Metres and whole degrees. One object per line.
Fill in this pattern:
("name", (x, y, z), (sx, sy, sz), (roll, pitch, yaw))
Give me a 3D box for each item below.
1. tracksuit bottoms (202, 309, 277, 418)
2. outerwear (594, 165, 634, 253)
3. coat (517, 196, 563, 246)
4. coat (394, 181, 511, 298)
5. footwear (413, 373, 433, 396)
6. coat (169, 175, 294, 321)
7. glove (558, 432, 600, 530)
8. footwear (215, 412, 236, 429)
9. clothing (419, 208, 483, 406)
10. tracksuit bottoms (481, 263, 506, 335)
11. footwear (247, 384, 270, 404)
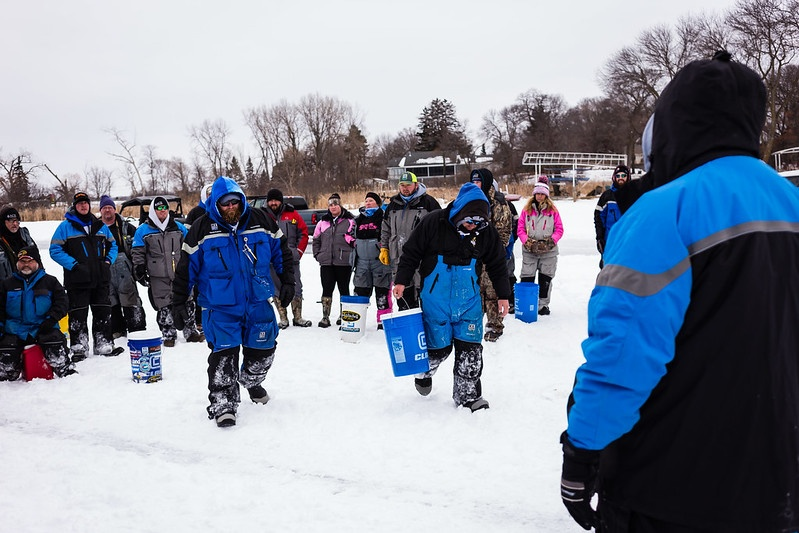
("tracksuit bottoms", (-1.561, 0.905, 6.504), (0.389, 1.066, 0.680), (10, 16, 44))
("outerwear", (3.006, -0.456, 9.296), (0.613, 1.878, 0.492), (1, -1, 21))
("coat", (2.120, -0.665, 10.066), (0.641, 0.690, 0.399), (2, 5, 12))
("coat", (0.590, -0.173, 6.681), (1.150, 1.256, 0.653), (6, 2, 2))
("footwear", (0.242, 1.208, 6.821), (0.141, 0.245, 0.243), (1, -18, -2))
("coat", (-1.612, -0.085, 6.527), (1.202, 1.557, 0.609), (-6, 13, -23))
("glove", (1.030, 1.243, 3.986), (0.365, 0.424, 0.463), (2, 6, 20))
("footwear", (-1.633, 1.452, 6.259), (0.118, 0.127, 0.162), (-16, -23, -1))
("clothing", (0.494, 0.397, 6.566), (0.692, 1.933, 0.550), (0, 12, 7))
("tracksuit bottoms", (1.291, 0.532, 8.947), (0.321, 1.156, 0.273), (14, 37, 39))
("footwear", (-1.431, 1.312, 6.796), (0.229, 0.242, 0.130), (-9, -6, 41))
